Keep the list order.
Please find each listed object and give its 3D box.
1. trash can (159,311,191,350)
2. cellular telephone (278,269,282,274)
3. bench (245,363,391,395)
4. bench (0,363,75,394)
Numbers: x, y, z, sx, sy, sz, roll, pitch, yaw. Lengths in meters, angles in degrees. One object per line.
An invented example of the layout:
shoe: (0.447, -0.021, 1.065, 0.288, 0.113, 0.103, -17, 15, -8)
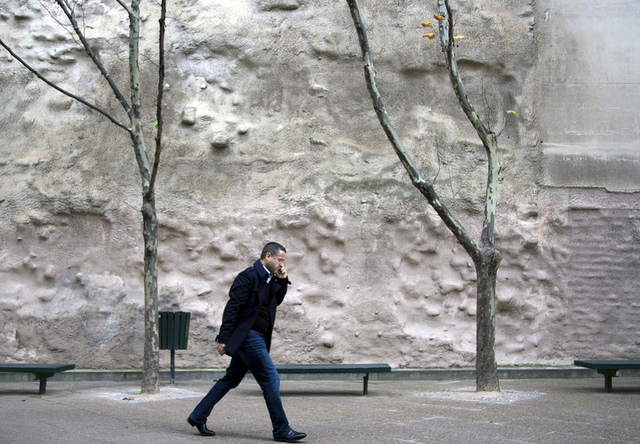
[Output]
trash can: (-3.771, 2.606, 24.728, 0.713, 0.905, 0.942, 5, 0, 45)
cellular telephone: (-0.787, 0.947, 19.907, 0.073, 0.073, 0.024, 43, -23, -4)
bench: (0.313, 3.644, 23.512, 2.586, 0.692, 0.629, -1, -3, -4)
bench: (-6.470, 3.538, 22.896, 1.377, 0.633, 0.676, -1, -4, 7)
